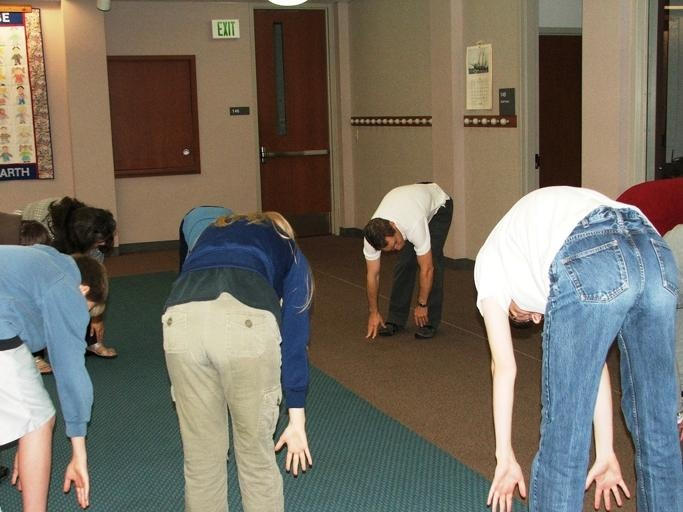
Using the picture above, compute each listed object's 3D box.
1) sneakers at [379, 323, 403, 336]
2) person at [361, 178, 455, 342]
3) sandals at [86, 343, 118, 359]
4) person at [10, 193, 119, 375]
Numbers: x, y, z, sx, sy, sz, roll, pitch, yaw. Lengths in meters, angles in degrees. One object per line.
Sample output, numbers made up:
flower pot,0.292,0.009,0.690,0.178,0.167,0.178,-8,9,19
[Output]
sneakers,0.421,0.640,4.996,0.089,0.113,0.245,-4,-6,44
person,0.565,0.065,4.811,0.536,1.354,1.078,10,37,27
sandals,-1.886,0.754,4.549,0.223,0.110,0.118,2,10,-2
person,-1.968,0.159,4.136,0.847,1.226,0.719,3,7,14
